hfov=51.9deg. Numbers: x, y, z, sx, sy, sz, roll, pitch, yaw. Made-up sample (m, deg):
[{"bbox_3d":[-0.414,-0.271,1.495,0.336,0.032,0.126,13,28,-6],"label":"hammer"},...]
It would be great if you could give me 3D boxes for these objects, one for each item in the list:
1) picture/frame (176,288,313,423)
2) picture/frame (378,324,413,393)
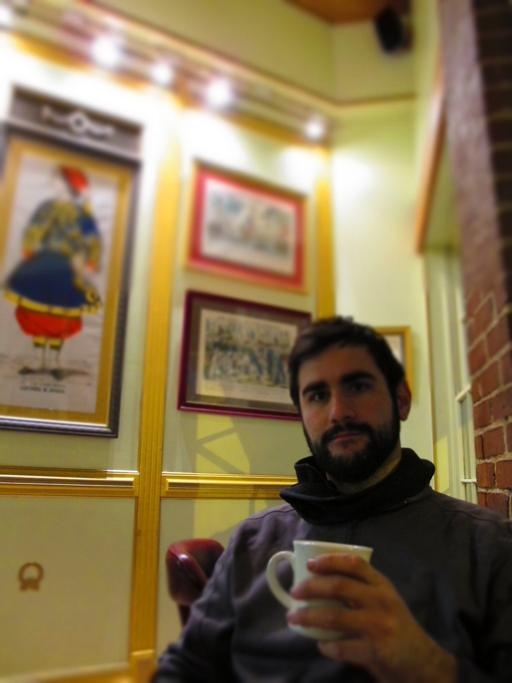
[{"bbox_3d":[-0.055,0.050,1.428,0.408,0.320,0.029,6,-14,-21],"label":"picture/frame"},{"bbox_3d":[0.174,0.019,0.661,0.007,0.091,0.079,-14,10,-14],"label":"picture/frame"}]
